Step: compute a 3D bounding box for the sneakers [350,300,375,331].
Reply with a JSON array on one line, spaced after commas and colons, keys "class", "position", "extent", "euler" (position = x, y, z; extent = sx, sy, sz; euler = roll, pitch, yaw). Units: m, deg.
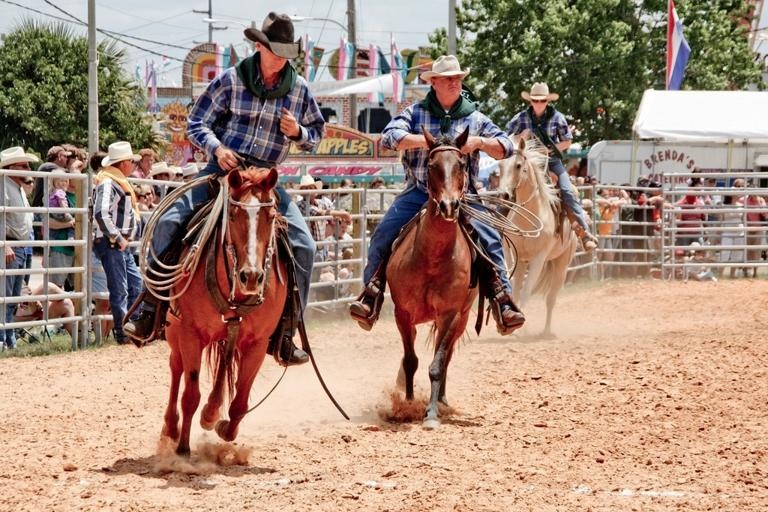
[{"class": "sneakers", "position": [-0.251, 0.811, 13.576], "extent": [0.260, 0.432, 0.171], "euler": [23, 62, 27]}]

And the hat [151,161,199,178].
[{"class": "hat", "position": [-3.607, -1.493, 17.906], "extent": [0.798, 0.185, 0.754], "euler": [-1, -2, 2]}]

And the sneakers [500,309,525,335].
[{"class": "sneakers", "position": [1.654, 0.871, 13.531], "extent": [0.185, 0.209, 0.479], "euler": [1, -16, -15]}]

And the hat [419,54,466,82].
[{"class": "hat", "position": [0.785, -2.450, 13.439], "extent": [0.543, 0.316, 0.485], "euler": [-1, 12, -3]}]

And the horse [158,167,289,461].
[{"class": "horse", "position": [-1.830, 0.644, 11.771], "extent": [1.405, 3.289, 1.109], "euler": [0, 13, -1]}]

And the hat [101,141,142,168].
[{"class": "hat", "position": [-3.992, -1.551, 15.618], "extent": [0.493, 0.221, 0.420], "euler": [-24, 19, -40]}]

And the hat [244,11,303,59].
[{"class": "hat", "position": [-1.288, -2.580, 12.067], "extent": [0.645, 0.518, 0.305], "euler": [-1, 13, -6]}]

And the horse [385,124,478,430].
[{"class": "horse", "position": [0.513, 0.231, 12.975], "extent": [0.990, 3.625, 1.074], "euler": [6, 14, 27]}]

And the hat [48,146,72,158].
[{"class": "hat", "position": [-5.284, -1.656, 16.787], "extent": [0.288, 0.219, 0.226], "euler": [-29, 30, -34]}]

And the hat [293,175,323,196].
[{"class": "hat", "position": [-1.413, -1.390, 19.202], "extent": [0.482, 0.195, 0.523], "euler": [-3, -8, -1]}]
